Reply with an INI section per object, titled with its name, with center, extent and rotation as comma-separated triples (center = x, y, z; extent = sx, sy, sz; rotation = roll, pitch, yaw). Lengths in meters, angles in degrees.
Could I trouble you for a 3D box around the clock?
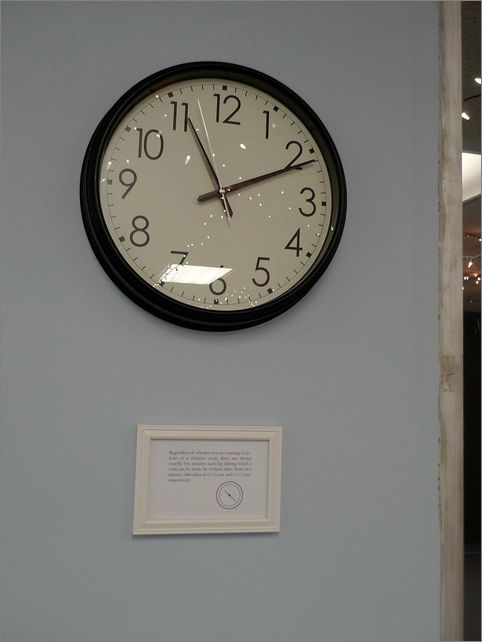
[clock]
center = -0.040, -0.239, 1.976
extent = 0.470, 0.030, 0.531
rotation = 5, -58, 4
